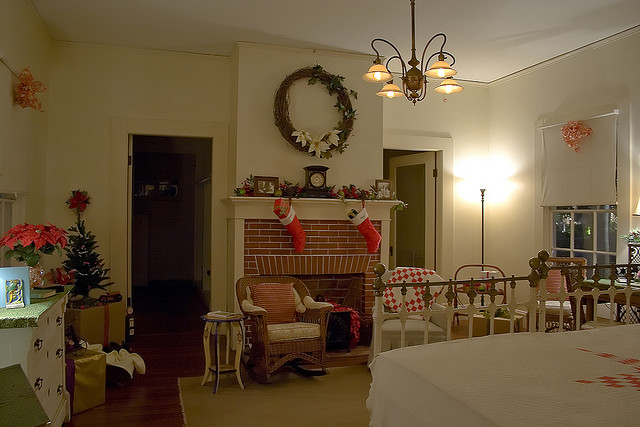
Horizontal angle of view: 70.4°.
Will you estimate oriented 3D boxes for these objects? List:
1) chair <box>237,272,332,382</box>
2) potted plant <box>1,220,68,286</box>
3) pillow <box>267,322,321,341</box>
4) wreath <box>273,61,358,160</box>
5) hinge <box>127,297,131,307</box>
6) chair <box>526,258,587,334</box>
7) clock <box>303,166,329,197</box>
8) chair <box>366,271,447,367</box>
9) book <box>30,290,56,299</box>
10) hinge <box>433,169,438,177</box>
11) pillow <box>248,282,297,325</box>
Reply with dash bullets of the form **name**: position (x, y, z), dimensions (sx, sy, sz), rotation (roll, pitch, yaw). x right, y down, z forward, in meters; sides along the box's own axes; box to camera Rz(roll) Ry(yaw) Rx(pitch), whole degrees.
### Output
- **chair**: position (-0.409, 1.188, 4.907), dimensions (0.985, 1.028, 1.041), rotation (0, -8, -11)
- **potted plant**: position (-2.187, 0.329, 3.551), dimensions (0.374, 0.490, 0.460), rotation (0, 4, -5)
- **pillow**: position (-0.290, 1.230, 4.733), dimensions (0.581, 0.119, 0.216), rotation (-1, 4, -23)
- **wreath**: position (-0.090, -1.216, 5.707), dimensions (1.105, 1.165, 0.354), rotation (-9, 3, -17)
- **hinge**: position (-2.407, 1.105, 5.691), dimensions (0.026, 0.098, 0.052), rotation (-2, 5, -31)
- **chair**: position (2.765, 0.946, 5.195), dimensions (0.465, 0.719, 2.011), rotation (3, 5, 32)
- **clock**: position (-0.027, -0.388, 5.658), dimensions (0.320, 0.376, 0.207), rotation (0, -5, 2)
- **chair**: position (1.030, 1.228, 5.243), dimensions (0.972, 1.259, 1.064), rotation (3, -16, -2)
- **book**: position (-2.110, 0.611, 3.445), dimensions (0.183, 0.061, 0.125), rotation (-3, 5, -41)
- **hinge**: position (1.807, -0.620, 7.071), dimensions (0.075, 0.117, 0.019), rotation (3, 5, 35)
- **pillow**: position (-0.478, 0.964, 4.931), dimensions (0.457, 0.419, 0.133), rotation (4, -22, -23)
